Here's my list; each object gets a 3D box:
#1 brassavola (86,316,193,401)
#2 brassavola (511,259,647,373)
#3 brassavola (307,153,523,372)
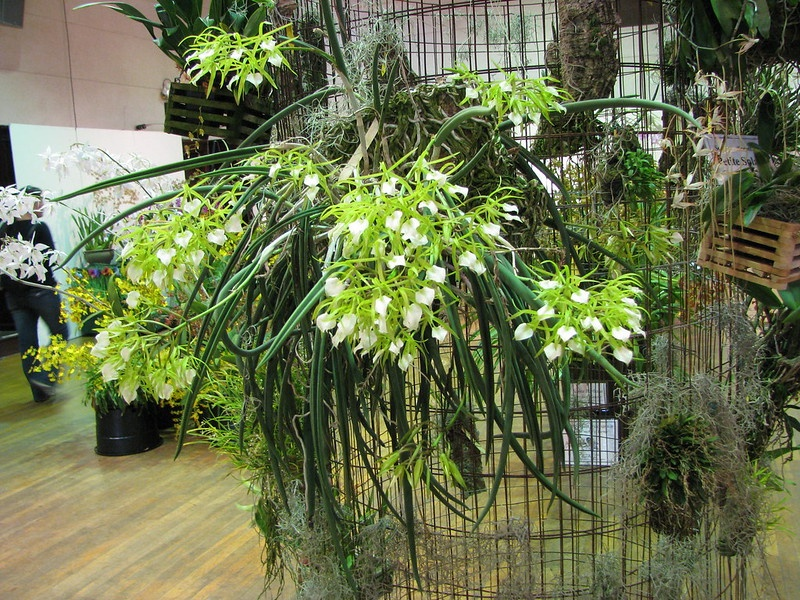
[{"bbox_3d":[-0.486,0.115,1.228,0.173,0.178,0.143,-7,13,-21],"label":"brassavola"},{"bbox_3d":[0.318,0.031,1.184,0.193,0.160,0.204,-24,8,-10],"label":"brassavola"},{"bbox_3d":[0.022,-0.035,1.228,0.348,0.408,0.401,2,37,4],"label":"brassavola"}]
